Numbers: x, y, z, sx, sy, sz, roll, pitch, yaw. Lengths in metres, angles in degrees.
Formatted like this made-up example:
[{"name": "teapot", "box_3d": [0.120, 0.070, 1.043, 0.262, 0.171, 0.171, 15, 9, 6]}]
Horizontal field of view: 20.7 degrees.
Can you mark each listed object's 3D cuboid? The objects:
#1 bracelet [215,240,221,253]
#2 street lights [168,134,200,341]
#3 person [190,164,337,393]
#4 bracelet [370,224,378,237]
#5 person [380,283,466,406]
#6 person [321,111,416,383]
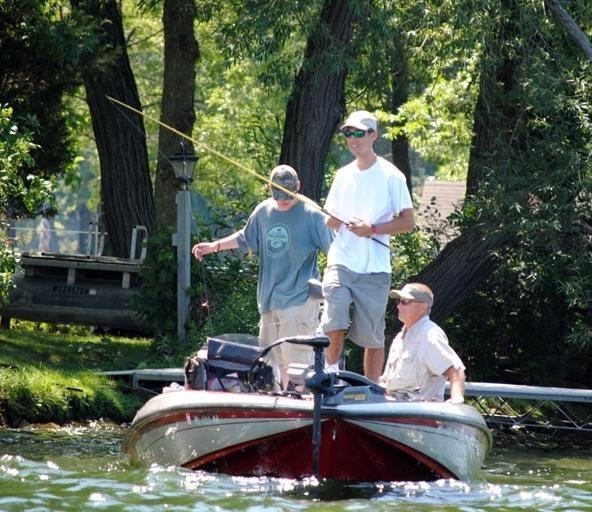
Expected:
[{"name": "bracelet", "box_3d": [-0.893, -0.089, 18.389, 0.067, 0.102, 0.037, -1, -2, -28]}, {"name": "street lights", "box_3d": [-1.602, -0.287, 22.813, 0.400, 2.798, 0.348, 6, 3, 40]}, {"name": "person", "box_3d": [-0.164, 0.149, 18.202, 1.008, 3.150, 1.099, 0, -1, 11]}, {"name": "bracelet", "box_3d": [0.835, -0.279, 17.752, 0.080, 0.110, 0.028, -3, -3, 12]}, {"name": "person", "box_3d": [1.368, 0.919, 17.505, 0.746, 1.333, 0.862, -1, -2, 40]}, {"name": "person", "box_3d": [0.723, 0.027, 18.050, 0.977, 3.176, 1.060, 3, 0, -7]}]
